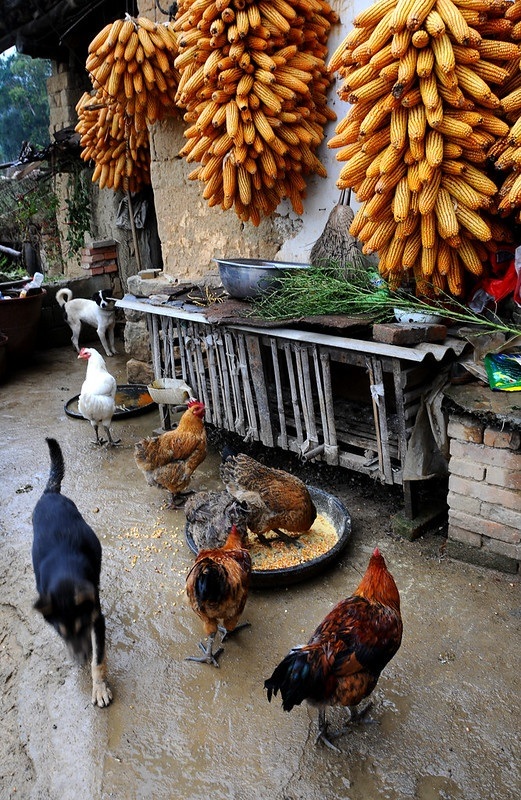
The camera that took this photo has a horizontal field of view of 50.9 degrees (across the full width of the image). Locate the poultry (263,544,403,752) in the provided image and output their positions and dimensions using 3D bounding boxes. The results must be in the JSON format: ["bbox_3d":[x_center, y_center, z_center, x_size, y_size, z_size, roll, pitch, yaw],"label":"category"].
[{"bbox_3d":[0.279,0.888,1.830,0.280,0.654,0.558,3,15,35],"label":"poultry"}]

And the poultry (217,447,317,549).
[{"bbox_3d":[0.035,0.538,3.013,0.607,0.518,0.340,15,-10,-20],"label":"poultry"}]

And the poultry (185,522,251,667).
[{"bbox_3d":[-0.193,0.861,2.376,0.300,0.551,0.513,-3,12,12],"label":"poultry"}]

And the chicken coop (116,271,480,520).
[{"bbox_3d":[0.317,-0.135,3.879,2.388,1.094,1.201,13,30,44],"label":"chicken coop"}]

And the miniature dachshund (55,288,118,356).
[{"bbox_3d":[-2.422,-1.117,7.857,1.109,0.979,0.351,9,26,28],"label":"miniature dachshund"}]
